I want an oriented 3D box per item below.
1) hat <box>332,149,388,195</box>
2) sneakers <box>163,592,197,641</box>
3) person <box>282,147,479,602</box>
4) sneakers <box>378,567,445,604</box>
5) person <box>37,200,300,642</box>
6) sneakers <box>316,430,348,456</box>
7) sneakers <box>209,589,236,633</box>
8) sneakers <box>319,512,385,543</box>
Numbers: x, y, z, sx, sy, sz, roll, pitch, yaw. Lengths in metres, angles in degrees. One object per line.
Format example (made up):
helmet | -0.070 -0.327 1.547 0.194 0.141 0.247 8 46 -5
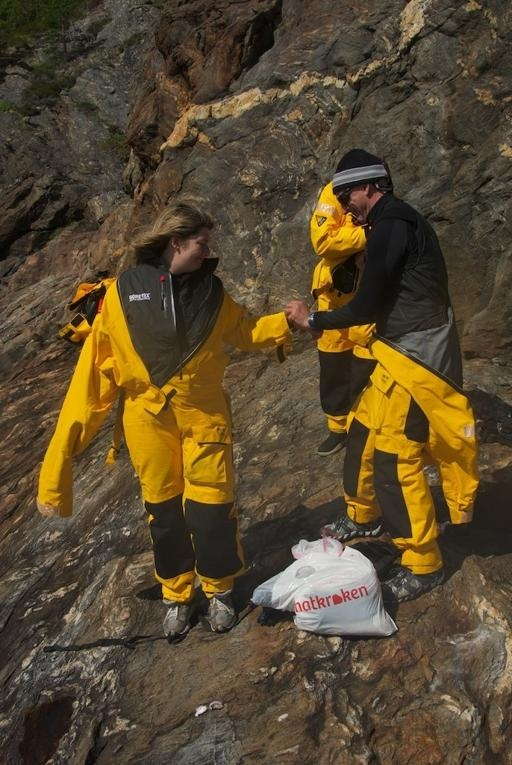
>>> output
hat | 0.476 -0.959 3.126 0.250 0.171 0.177 4 10 15
sneakers | -0.390 1.186 3.509 0.105 0.129 0.273 -18 39 29
person | 0.659 -0.001 3.220 0.621 1.981 0.920 -11 29 6
sneakers | 0.736 0.978 3.380 0.357 0.157 0.130 -19 1 9
person | -0.455 0.195 3.391 0.766 2.001 1.122 7 35 33
sneakers | 0.510 0.406 4.562 0.186 0.170 0.081 -21 48 3
sneakers | -0.175 1.143 3.455 0.096 0.107 0.267 -7 9 3
sneakers | 0.506 0.789 3.784 0.384 0.162 0.138 -1 16 1
